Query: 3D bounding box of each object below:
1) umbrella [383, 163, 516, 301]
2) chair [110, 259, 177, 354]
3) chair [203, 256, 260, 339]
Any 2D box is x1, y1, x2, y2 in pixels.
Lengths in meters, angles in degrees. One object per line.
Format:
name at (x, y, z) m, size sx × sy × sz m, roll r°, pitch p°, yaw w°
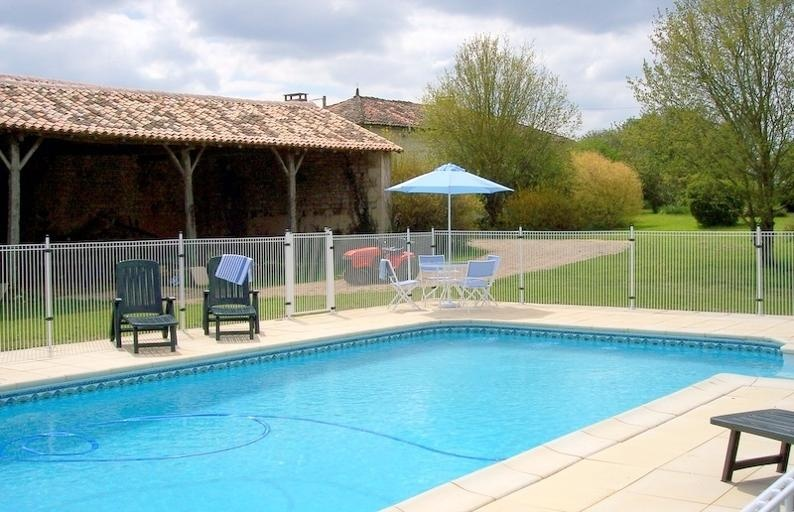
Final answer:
umbrella at (1.284, -0.733, 19.755) m, size 3.000 × 2.863 × 3.097 m, roll -2°, pitch 5°, yaw -4°
chair at (-4.938, 0.930, 14.828) m, size 1.150 × 1.675 × 1.799 m, roll -1°, pitch 3°, yaw -33°
chair at (-3.525, 0.809, 15.735) m, size 1.200 × 1.608 × 1.823 m, roll 0°, pitch 3°, yaw -10°
